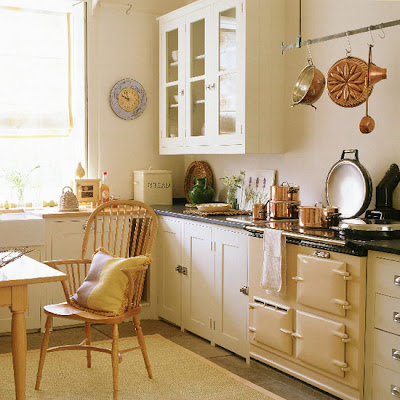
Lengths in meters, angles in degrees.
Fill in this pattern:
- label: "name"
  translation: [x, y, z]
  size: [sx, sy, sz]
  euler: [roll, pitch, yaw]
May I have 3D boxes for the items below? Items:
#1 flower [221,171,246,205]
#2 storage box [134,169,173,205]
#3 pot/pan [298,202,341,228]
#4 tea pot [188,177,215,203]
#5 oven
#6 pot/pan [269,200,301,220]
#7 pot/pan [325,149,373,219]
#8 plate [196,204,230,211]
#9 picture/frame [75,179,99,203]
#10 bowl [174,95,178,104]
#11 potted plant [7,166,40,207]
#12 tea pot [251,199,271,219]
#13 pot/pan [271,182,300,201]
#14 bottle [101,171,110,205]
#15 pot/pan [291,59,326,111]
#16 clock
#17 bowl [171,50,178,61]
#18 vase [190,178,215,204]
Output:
- label: "flower"
  translation: [0.278, -0.112, 3.433]
  size: [0.274, 0.327, 0.238]
  euler: [0, 7, -9]
- label: "storage box"
  translation: [-0.482, -0.123, 3.952]
  size: [0.506, 0.401, 0.289]
  euler: [0, 5, -22]
- label: "pot/pan"
  translation: [0.673, 0.081, 2.229]
  size: [0.198, 0.139, 0.259]
  euler: [-2, 0, 6]
- label: "tea pot"
  translation: [0.012, -0.064, 3.475]
  size: [0.215, 0.223, 0.226]
  euler: [3, 3, 0]
- label: "oven"
  translation: [0.549, 0.591, 1.979]
  size: [0.366, 0.813, 0.782]
  euler: [1, 0, -25]
- label: "pot/pan"
  translation: [0.545, 0.065, 2.584]
  size: [0.134, 0.088, 0.135]
  euler: [1, -1, -43]
- label: "pot/pan"
  translation: [0.880, -0.083, 2.343]
  size: [0.068, 0.367, 0.289]
  euler: [-3, -5, -18]
- label: "plate"
  translation: [0.113, 0.059, 3.089]
  size: [0.247, 0.068, 0.378]
  euler: [0, -1, 4]
- label: "picture/frame"
  translation: [-0.995, -0.091, 3.599]
  size: [0.244, 0.274, 0.180]
  euler: [0, 0, -33]
- label: "bowl"
  translation: [-0.212, -0.894, 3.527]
  size: [0.054, 0.049, 0.060]
  euler: [1, -4, -36]
- label: "potted plant"
  translation: [-1.654, -0.141, 3.759]
  size: [0.275, 0.374, 0.297]
  euler: [0, 0, 40]
- label: "tea pot"
  translation: [0.388, 0.076, 2.588]
  size: [0.083, 0.151, 0.151]
  euler: [0, 0, -14]
- label: "pot/pan"
  translation: [0.562, -0.043, 2.626]
  size: [0.168, 0.128, 0.100]
  euler: [1, 0, -17]
- label: "bottle"
  translation: [-0.888, -0.124, 3.705]
  size: [0.088, 0.314, 0.306]
  euler: [0, -1, -13]
- label: "pot/pan"
  translation: [0.599, -0.641, 2.255]
  size: [0.211, 0.273, 0.258]
  euler: [0, -1, -6]
- label: "clock"
  translation: [-0.704, -0.981, 3.917]
  size: [0.346, 0.378, 0.360]
  euler: [-1, -8, -13]
- label: "bowl"
  translation: [-0.228, -1.273, 3.521]
  size: [0.072, 0.064, 0.080]
  euler: [0, -2, -8]
- label: "vase"
  translation: [0.017, -0.067, 3.485]
  size: [0.223, 0.232, 0.236]
  euler: [1, 2, -17]
